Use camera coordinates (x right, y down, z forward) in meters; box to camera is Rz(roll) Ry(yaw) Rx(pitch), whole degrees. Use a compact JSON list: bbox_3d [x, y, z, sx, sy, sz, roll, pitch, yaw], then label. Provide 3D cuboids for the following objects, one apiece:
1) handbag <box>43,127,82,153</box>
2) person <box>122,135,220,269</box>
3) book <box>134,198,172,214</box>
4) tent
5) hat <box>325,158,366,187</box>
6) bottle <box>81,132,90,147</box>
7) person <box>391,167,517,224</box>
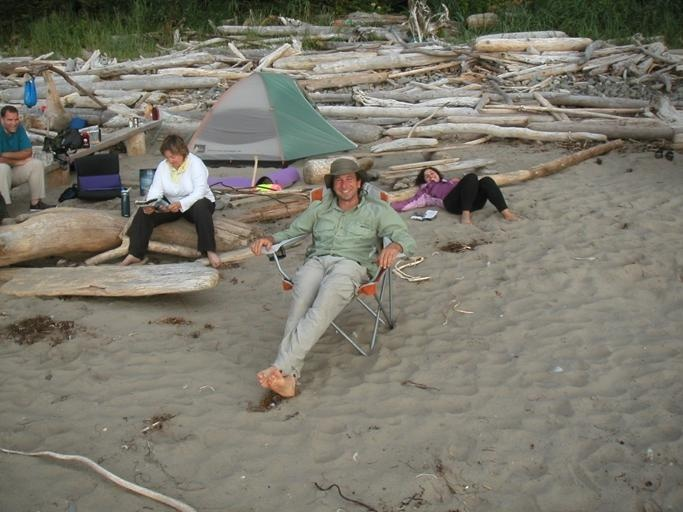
[{"bbox_3d":[-4.435,-1.868,9.798,0.707,0.221,0.404,-9,52,-21],"label":"handbag"},{"bbox_3d":[-2.103,-0.665,7.254,1.085,1.549,0.673,-9,22,-6],"label":"person"},{"bbox_3d":[-2.273,-0.613,7.289,0.398,0.160,0.327,-6,16,-8],"label":"book"},{"bbox_3d":[-1.029,-2.523,10.912,2.369,0.920,2.568,12,21,37],"label":"tent"},{"bbox_3d":[0.035,-0.850,5.952,0.383,0.118,0.343,-7,-20,9],"label":"hat"},{"bbox_3d":[-4.261,-1.924,10.029,0.154,0.257,0.087,-13,23,-14],"label":"bottle"},{"bbox_3d":[1.668,-0.914,8.561,1.788,0.538,1.036,8,25,39],"label":"person"}]
